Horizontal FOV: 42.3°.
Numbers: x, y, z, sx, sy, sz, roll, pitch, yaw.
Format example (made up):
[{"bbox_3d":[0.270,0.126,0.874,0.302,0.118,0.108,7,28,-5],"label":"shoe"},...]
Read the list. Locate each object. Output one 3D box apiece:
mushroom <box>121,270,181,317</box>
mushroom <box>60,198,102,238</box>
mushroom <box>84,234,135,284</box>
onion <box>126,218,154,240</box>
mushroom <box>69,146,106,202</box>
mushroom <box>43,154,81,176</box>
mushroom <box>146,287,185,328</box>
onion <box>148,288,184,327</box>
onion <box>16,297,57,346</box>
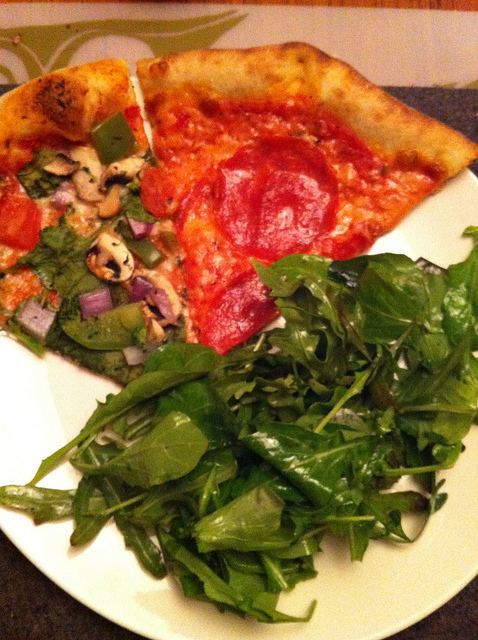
[{"bbox_3d":[-0.282,-0.041,1.990,0.043,0.213,0.136,-38,128,8],"label":"mushroom"},{"bbox_3d":[-0.512,-0.333,2.022,0.139,0.040,0.126,29,84,-15],"label":"mushroom"},{"bbox_3d":[-0.418,-0.199,1.994,0.149,0.058,0.159,-20,97,-6],"label":"mushroom"},{"bbox_3d":[-0.317,-0.297,2.005,0.079,0.026,0.066,-7,87,-11],"label":"onion"},{"bbox_3d":[-0.499,-0.477,2.057,0.044,0.118,0.195,-57,43,18],"label":"mushroom"},{"bbox_3d":[-0.570,-0.496,1.989,0.100,0.018,0.062,-12,75,-7],"label":"mushroom"},{"bbox_3d":[-0.240,-0.043,2.049,0.078,0.037,0.151,-39,97,-3],"label":"mushroom"},{"bbox_3d":[-0.236,-0.045,1.995,0.054,0.017,0.144,-34,101,9],"label":"onion"},{"bbox_3d":[-0.649,-0.003,1.973,0.137,0.083,0.119,26,72,-10],"label":"onion"}]
